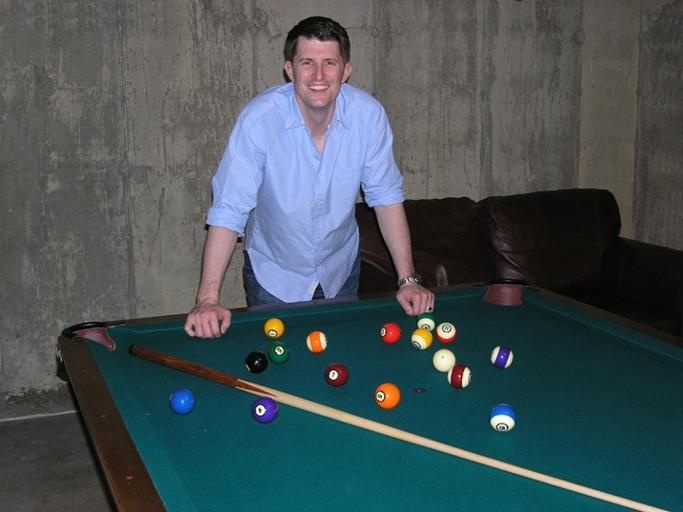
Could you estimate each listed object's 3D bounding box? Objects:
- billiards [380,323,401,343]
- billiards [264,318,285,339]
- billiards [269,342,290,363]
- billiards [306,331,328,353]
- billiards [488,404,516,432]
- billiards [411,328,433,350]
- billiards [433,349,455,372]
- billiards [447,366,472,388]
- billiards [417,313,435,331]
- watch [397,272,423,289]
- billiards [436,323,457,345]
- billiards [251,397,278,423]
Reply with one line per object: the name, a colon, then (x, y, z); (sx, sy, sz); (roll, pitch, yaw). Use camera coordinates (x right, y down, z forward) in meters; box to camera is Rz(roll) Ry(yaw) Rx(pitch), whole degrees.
billiards: (0.196, 0.305, 2.633); (0.067, 0.076, 0.078); (-5, -29, 0)
billiards: (-0.267, 0.277, 2.667); (0.070, 0.077, 0.072); (3, 26, -14)
billiards: (-0.227, 0.356, 2.473); (0.070, 0.071, 0.038); (-38, 2, -14)
billiards: (-0.093, 0.323, 2.561); (0.067, 0.087, 0.074); (-2, 6, -11)
billiards: (0.525, 0.515, 2.147); (0.084, 0.078, 0.069); (2, 8, 10)
billiards: (0.320, 0.324, 2.640); (0.075, 0.076, 0.072); (41, -21, -33)
billiards: (0.379, 0.383, 2.478); (0.070, 0.077, 0.086); (4, -12, 17)
billiards: (0.422, 0.420, 2.333); (0.068, 0.077, 0.072); (-1, 8, 4)
billiards: (0.350, 0.269, 2.718); (0.049, 0.055, 0.069); (3, 5, 13)
watch: (0.317, 0.112, 3.074); (0.094, 0.066, 0.095); (-15, -31, 1)
billiards: (0.422, 0.294, 2.658); (0.071, 0.054, 0.071); (-20, 30, -32)
billiards: (-0.246, 0.498, 2.153); (0.070, 0.078, 0.070); (1, 1, 13)
